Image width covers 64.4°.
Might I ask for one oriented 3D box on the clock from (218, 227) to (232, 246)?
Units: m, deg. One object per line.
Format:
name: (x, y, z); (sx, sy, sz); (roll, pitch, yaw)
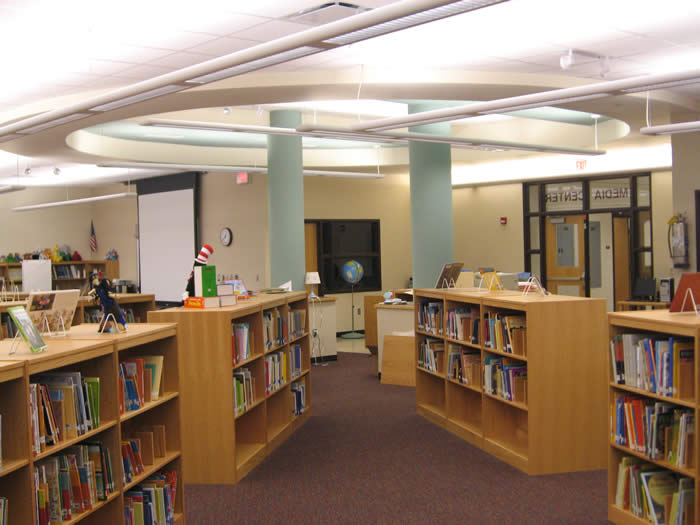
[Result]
clock: (-3.384, -0.712, 15.408); (0.432, 0.551, 0.087); (0, 4, 39)

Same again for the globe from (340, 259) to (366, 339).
globe: (0.087, 0.908, 15.151); (0.532, 2.015, 0.562); (3, 16, 22)
